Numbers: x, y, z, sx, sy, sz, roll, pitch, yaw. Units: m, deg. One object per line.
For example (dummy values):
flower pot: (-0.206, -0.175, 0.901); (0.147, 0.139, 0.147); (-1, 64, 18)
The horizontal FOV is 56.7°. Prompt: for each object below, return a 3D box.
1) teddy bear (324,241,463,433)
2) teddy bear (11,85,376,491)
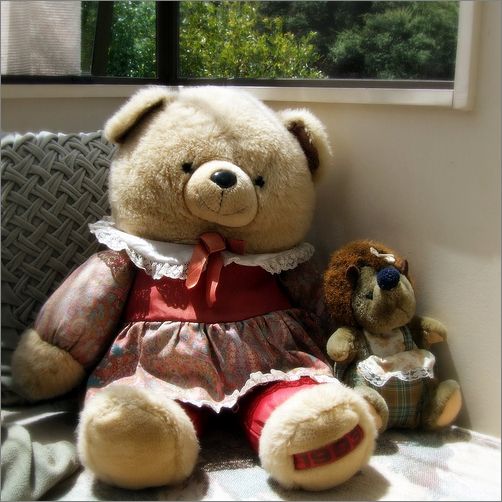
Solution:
teddy bear: (0.288, 0.175, 0.961); (0.254, 0.363, 0.263); (-4, -1, 22)
teddy bear: (-0.110, 0.032, 0.999); (0.754, 0.708, 0.623); (2, 11, -4)
